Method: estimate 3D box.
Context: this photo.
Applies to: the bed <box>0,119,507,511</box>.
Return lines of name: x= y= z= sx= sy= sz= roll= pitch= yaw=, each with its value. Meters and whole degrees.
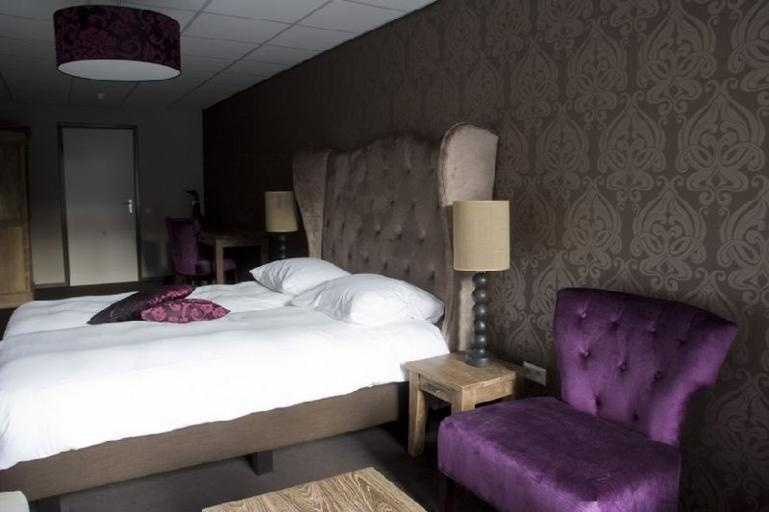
bed: x=-0.867 y=0.218 z=3.701 sx=2.597 sy=1.732 sz=1.899 roll=-5 pitch=10 yaw=-29

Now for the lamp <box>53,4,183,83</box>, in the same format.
lamp: x=-1.625 y=-1.320 z=3.413 sx=0.673 sy=0.263 sz=0.617 roll=6 pitch=10 yaw=20
